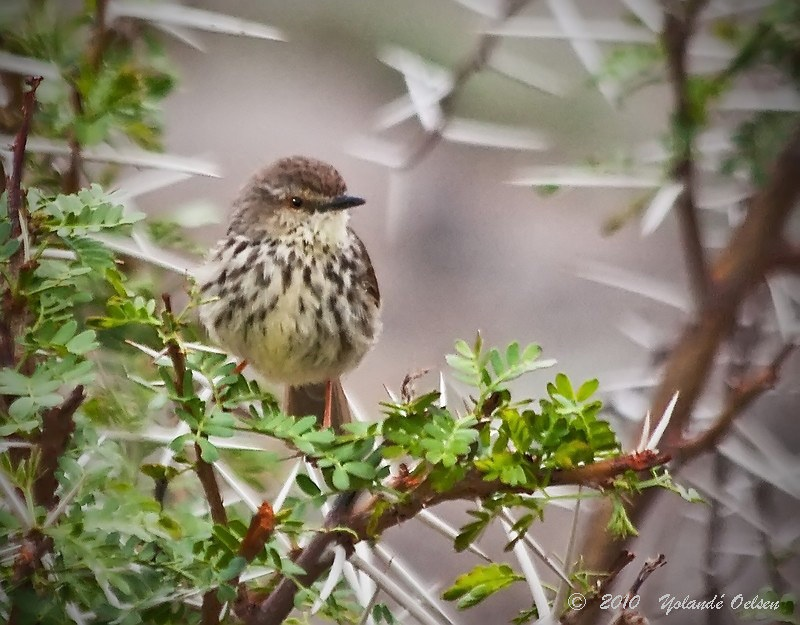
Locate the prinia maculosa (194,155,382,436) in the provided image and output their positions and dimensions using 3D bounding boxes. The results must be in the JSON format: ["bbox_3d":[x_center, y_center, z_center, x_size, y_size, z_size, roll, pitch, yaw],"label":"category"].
[{"bbox_3d":[-0.281,-0.095,2.660,0.557,0.522,0.589,29,-46,-10],"label":"prinia maculosa"}]
